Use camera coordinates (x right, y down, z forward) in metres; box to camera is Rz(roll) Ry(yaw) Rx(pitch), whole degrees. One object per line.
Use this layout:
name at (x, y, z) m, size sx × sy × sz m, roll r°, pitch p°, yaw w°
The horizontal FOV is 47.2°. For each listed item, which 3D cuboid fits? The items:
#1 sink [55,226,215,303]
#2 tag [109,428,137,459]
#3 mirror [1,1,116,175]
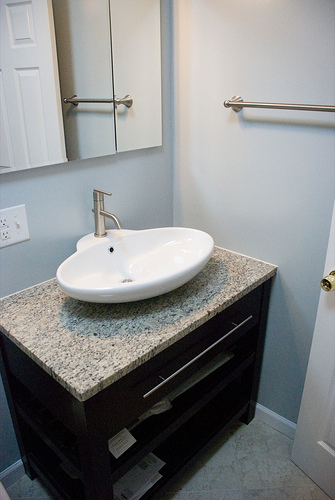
sink at (-0.080, 0.043, 1.180) m, size 0.448 × 0.130 × 0.512 m, roll -2°, pitch 24°, yaw 3°
tag at (-0.128, 0.543, 1.075) m, size 0.050 × 0.020 × 0.076 m, roll 36°, pitch 27°, yaw 12°
mirror at (-0.331, -0.489, 1.127) m, size 0.072 × 0.452 × 0.431 m, roll 18°, pitch 32°, yaw 27°
